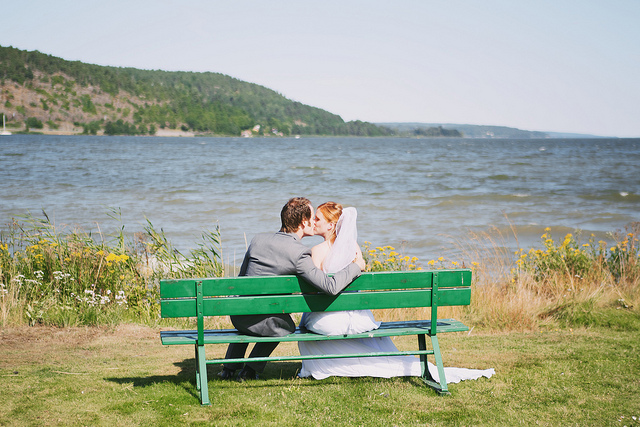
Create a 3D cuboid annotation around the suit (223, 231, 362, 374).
[{"bbox_3d":[-0.445,1.342,10.832,1.838,2.683,1.152,16,18,-12],"label":"suit"}]
